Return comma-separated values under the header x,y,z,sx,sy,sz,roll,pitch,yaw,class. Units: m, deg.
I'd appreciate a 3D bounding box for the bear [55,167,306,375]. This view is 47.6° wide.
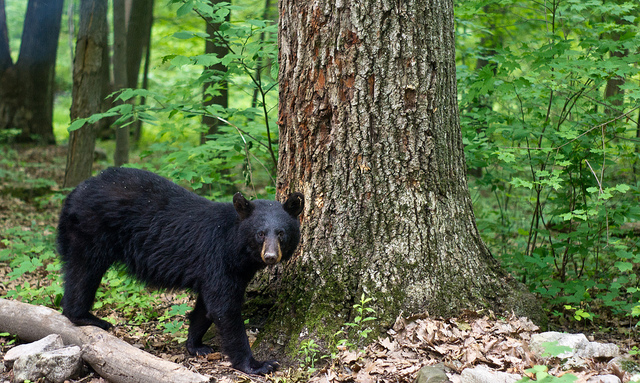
x,y,z,sx,sy,sz,roll,pitch,yaw,class
-2.743,1.367,13.506,4.386,3.383,1.171,3,13,7,bear
